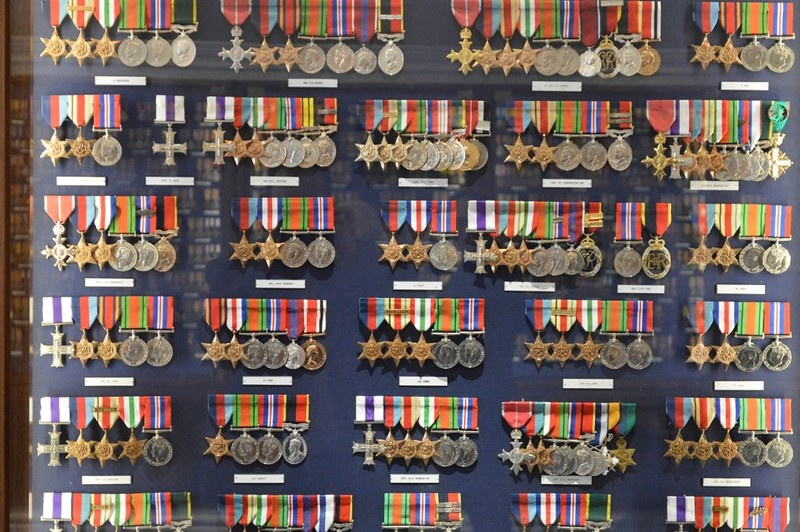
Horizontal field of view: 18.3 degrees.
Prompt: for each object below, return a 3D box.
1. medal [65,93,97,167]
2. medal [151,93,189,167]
[{"bbox_3d":[-2.864,-1.277,22.525,0.225,0.548,0.266,1,27,-9],"label":"medal"},{"bbox_3d":[-2.058,-1.254,22.534,0.302,0.570,0.294,2,27,-7],"label":"medal"}]
